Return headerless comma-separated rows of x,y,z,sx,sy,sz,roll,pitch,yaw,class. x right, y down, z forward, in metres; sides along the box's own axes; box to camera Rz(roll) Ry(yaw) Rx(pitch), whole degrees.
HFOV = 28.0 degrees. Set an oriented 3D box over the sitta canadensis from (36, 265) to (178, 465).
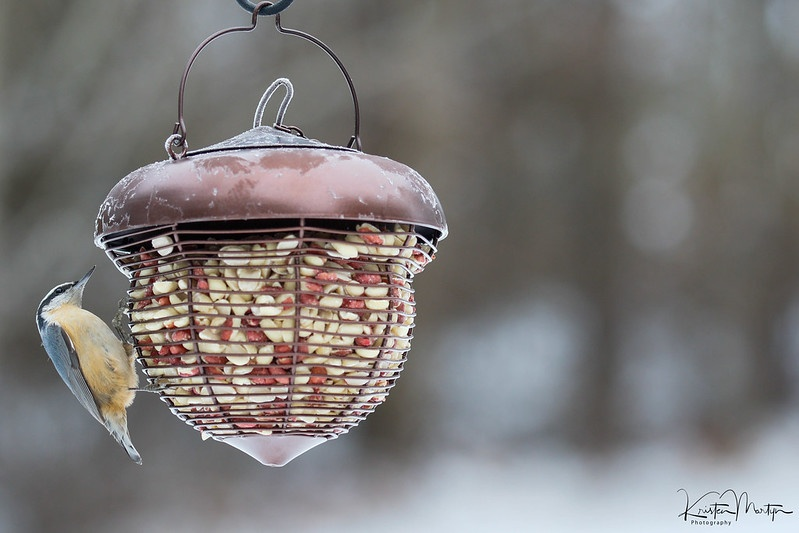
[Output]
-1.127,0.365,6.115,0.727,0.389,0.880,3,79,-27,sitta canadensis
